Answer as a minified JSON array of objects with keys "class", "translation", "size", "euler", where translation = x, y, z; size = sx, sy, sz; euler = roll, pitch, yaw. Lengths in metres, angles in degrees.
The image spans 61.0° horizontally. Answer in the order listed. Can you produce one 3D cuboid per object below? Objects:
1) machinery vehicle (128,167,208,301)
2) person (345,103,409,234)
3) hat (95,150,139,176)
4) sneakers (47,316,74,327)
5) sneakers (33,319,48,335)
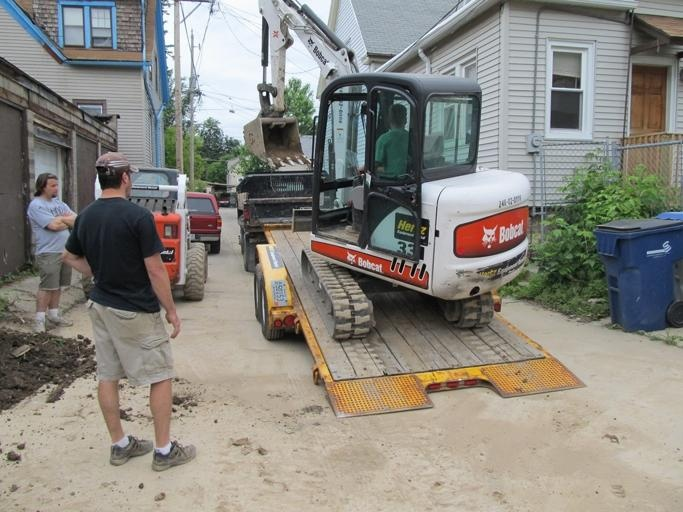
[{"class":"machinery vehicle","translation":[-2.820,-0.501,10.696],"size":[1.759,1.772,3.212],"euler":[-1,19,-14]},{"class":"person","translation":[0.648,-1.100,6.745],"size":[0.775,1.247,0.322],"euler":[5,2,22]},{"class":"hat","translation":[-1.895,-0.789,5.049],"size":[0.293,0.201,0.442],"euler":[10,11,29]},{"class":"sneakers","translation":[-3.931,0.920,8.071],"size":[0.275,0.100,0.114],"euler":[-1,8,-22]},{"class":"sneakers","translation":[-3.996,0.947,7.680],"size":[0.206,0.195,0.139],"euler":[5,-4,12]}]
